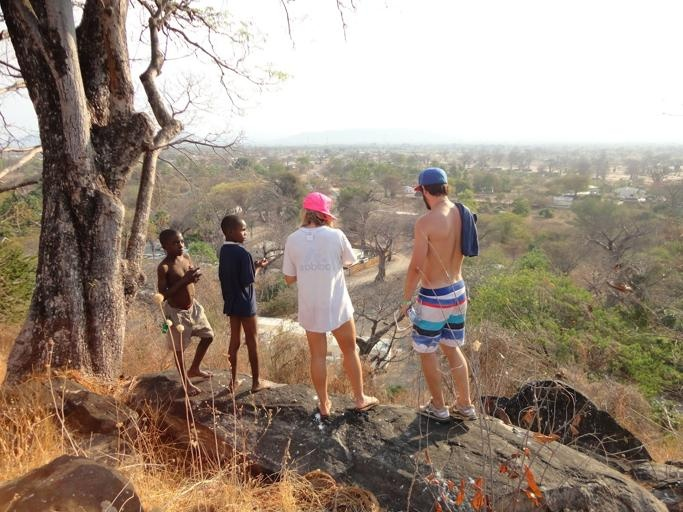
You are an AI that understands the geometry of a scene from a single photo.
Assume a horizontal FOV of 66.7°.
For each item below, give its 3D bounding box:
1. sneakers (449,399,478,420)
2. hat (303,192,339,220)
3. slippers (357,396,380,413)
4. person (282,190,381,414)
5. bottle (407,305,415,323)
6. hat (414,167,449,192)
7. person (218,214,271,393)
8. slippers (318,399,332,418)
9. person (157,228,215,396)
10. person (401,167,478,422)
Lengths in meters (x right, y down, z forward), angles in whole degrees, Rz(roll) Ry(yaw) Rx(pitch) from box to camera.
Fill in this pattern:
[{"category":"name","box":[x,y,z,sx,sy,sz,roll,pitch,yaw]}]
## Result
[{"category":"sneakers","box":[1.245,1.590,5.363,0.123,0.159,0.298,-15,19,-40]},{"category":"hat","box":[-0.198,-0.523,5.305,0.221,0.191,0.331,17,7,29]},{"category":"slippers","box":[0.285,1.556,5.439,0.230,0.112,0.110,-17,21,-36]},{"category":"person","box":[-0.141,0.665,5.322,0.870,1.913,0.486,-2,11,-9]},{"category":"bottle","box":[0.707,0.596,5.223,0.028,0.139,0.090,3,-6,-24]},{"category":"hat","box":[0.893,-0.787,5.303,0.194,0.168,0.290,-7,14,-18]},{"category":"person","box":[-1.059,0.519,5.605,0.472,1.932,0.441,-3,11,-13]},{"category":"slippers","box":[-0.171,1.581,5.317,0.092,0.213,0.207,-1,29,11]},{"category":"person","box":[-1.708,0.595,5.681,0.549,1.753,0.564,-5,12,-23]},{"category":"person","box":[1.035,0.411,5.316,0.759,2.575,0.656,2,11,14]}]
